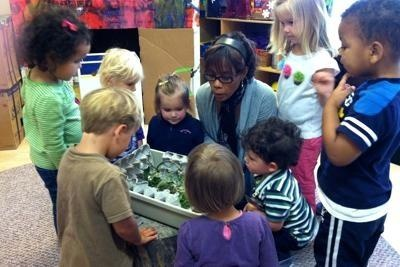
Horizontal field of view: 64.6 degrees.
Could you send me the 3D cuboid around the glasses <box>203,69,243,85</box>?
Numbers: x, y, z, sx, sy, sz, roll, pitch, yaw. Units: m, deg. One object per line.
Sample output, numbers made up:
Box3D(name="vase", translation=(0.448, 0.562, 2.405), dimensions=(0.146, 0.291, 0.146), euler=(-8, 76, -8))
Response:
Box3D(name="glasses", translation=(0.144, -0.369, 2.059), dimensions=(0.245, 0.089, 0.092), euler=(1, 18, 8))
